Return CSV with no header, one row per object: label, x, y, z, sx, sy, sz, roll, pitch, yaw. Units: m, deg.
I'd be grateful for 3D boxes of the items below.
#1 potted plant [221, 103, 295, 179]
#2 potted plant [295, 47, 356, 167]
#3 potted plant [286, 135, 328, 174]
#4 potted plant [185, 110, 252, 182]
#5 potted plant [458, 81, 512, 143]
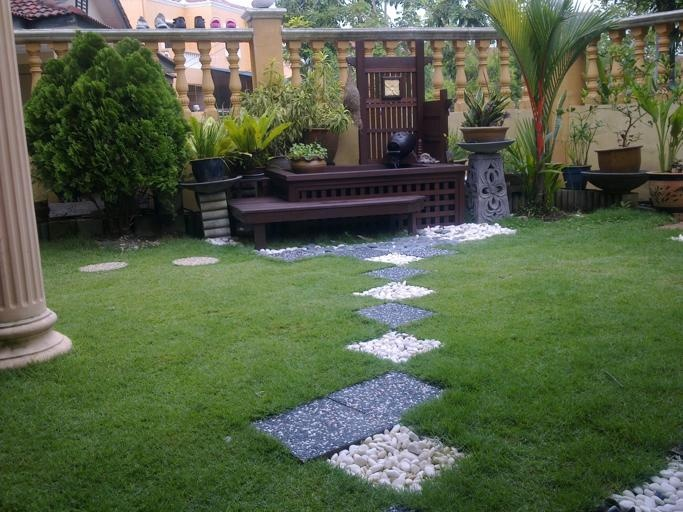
potted plant,-1.081,-1.441,6.671,0.718,0.649,0.821,4,1,14
potted plant,-0.159,-2.147,7.279,0.799,1.696,1.130,-1,14,1
potted plant,-0.408,-1.269,6.477,0.372,0.292,0.400,1,9,8
potted plant,-1.551,-1.288,6.409,0.726,0.767,0.854,0,7,28
potted plant,1.870,-1.881,7.086,0.659,0.925,0.827,0,4,-2
